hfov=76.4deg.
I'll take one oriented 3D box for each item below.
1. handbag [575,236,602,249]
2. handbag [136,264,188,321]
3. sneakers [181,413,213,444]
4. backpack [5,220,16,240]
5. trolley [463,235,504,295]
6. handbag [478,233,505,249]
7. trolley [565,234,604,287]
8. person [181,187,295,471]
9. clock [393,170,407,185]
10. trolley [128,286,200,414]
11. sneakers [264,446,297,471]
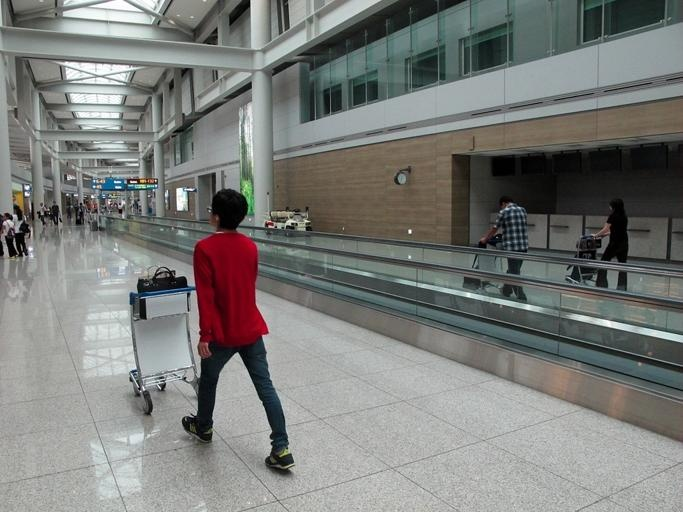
[{"bbox_3d":[4.273,-0.229,7.508,0.343,0.168,0.508,1,1,24],"label":"handbag"},{"bbox_3d":[-2.062,0.417,4.966,0.556,0.541,0.298,-6,12,-27],"label":"handbag"},{"bbox_3d":[-1.229,1.475,3.698,0.313,0.162,0.114,32,24,17],"label":"sneakers"},{"bbox_3d":[-12.235,-0.986,15.909,0.213,0.641,1.008,-4,8,-25],"label":"backpack"},{"bbox_3d":[2.457,0.019,7.404,0.482,0.517,3.540,3,8,20],"label":"trolley"},{"bbox_3d":[3.465,-0.347,10.102,0.669,0.247,0.673,2,4,38],"label":"handbag"},{"bbox_3d":[4.176,0.109,7.373,0.554,0.770,0.550,9,0,-26],"label":"trolley"},{"bbox_3d":[-0.836,0.549,3.431,1.078,2.135,0.568,5,9,33],"label":"person"},{"bbox_3d":[2.175,-2.886,15.993,0.143,0.579,0.740,-5,9,-35],"label":"clock"},{"bbox_3d":[-1.910,0.934,4.625,0.875,1.145,1.120,-5,-3,-21],"label":"trolley"},{"bbox_3d":[-0.467,1.543,3.279,0.110,0.138,0.301,0,-1,-29],"label":"sneakers"}]
